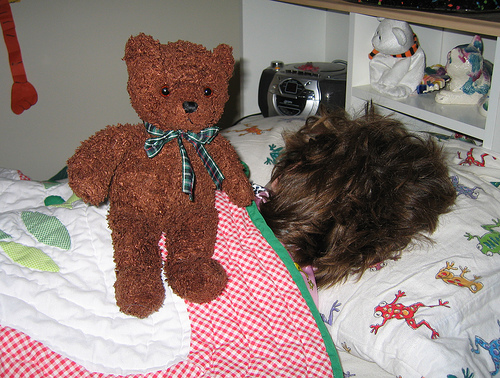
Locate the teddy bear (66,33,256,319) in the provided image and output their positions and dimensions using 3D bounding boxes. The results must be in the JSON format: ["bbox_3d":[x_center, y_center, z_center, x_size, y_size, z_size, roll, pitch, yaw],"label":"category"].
[{"bbox_3d":[-0.145,-0.028,0.825,0.401,0.453,0.284,-9,33,-38],"label":"teddy bear"}]

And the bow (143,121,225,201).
[{"bbox_3d":[-0.129,-0.052,0.810,0.151,0.129,0.059,-6,-4,-13],"label":"bow"}]

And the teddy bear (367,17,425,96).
[{"bbox_3d":[0.414,-0.367,1.288,0.139,0.241,0.150,-14,33,-25],"label":"teddy bear"}]
